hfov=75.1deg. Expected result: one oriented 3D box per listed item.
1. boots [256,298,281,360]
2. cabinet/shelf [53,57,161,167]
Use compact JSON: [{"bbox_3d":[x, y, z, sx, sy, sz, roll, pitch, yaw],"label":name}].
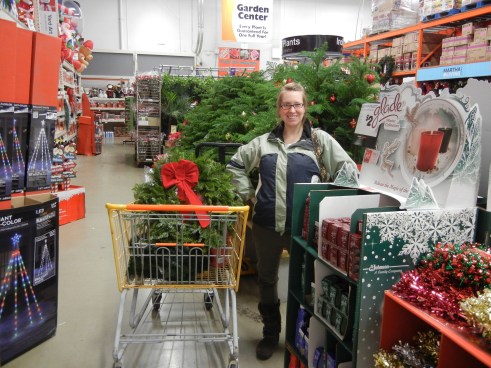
[{"bbox_3d":[0.166,1.074,2.399,0.146,0.350,0.270,5,17,30],"label":"boots"},{"bbox_3d":[-5.051,-3.358,12.421,2.379,4.075,9.087,-6,14,-25],"label":"cabinet/shelf"}]
